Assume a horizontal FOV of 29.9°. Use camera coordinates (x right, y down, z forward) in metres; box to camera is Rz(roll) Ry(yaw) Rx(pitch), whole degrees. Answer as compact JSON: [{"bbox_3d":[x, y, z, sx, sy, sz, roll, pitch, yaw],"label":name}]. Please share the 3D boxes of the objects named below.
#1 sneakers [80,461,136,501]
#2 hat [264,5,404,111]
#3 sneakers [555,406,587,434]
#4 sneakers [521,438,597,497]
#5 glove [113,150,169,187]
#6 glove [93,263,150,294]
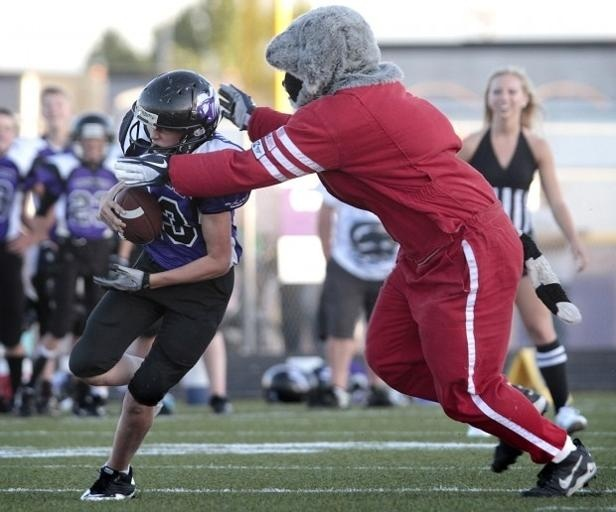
[{"bbox_3d":[-0.917,1.050,5.295,0.161,0.141,0.355,0,2,19],"label":"sneakers"},{"bbox_3d":[0.107,-0.889,5.136,0.559,0.340,0.425,0,3,1],"label":"hat"},{"bbox_3d":[1.534,0.953,6.785,0.111,0.110,0.274,-4,-8,-14],"label":"sneakers"},{"bbox_3d":[1.141,1.008,5.296,0.443,0.178,0.143,-23,8,-32],"label":"sneakers"},{"bbox_3d":[-0.676,-0.396,5.165,0.370,0.110,0.197,7,19,17],"label":"glove"},{"bbox_3d":[-0.863,0.112,5.313,0.230,0.060,0.125,10,45,9],"label":"glove"}]
